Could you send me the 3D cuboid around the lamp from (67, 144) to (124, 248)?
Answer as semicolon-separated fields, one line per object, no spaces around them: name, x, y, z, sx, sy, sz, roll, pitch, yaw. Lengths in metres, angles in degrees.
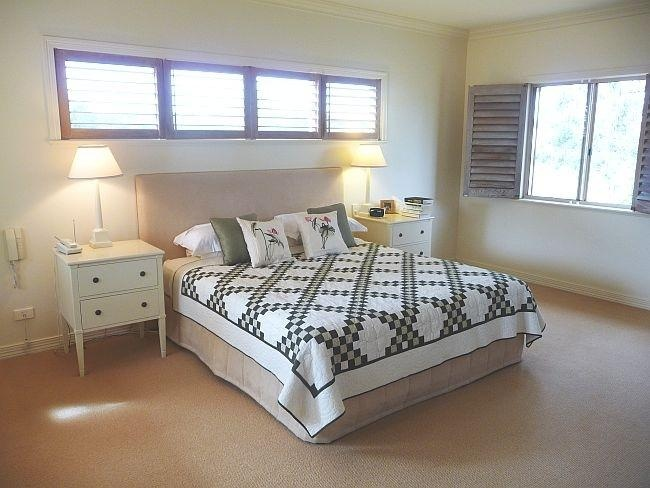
lamp;-1.907;-0.409;3.797;0.378;0.821;0.372;-8;16;-28

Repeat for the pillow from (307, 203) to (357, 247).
pillow;0.038;-0.145;4.619;0.137;0.436;0.465;-23;-11;34

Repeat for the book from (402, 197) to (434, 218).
book;1.124;-0.471;5.338;0.280;0.182;0.275;-14;18;-43

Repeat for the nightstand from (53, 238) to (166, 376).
nightstand;-1.638;0.624;3.776;0.709;0.878;0.633;-7;-20;-19

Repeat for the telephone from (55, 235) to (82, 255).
telephone;-2.061;0.018;3.658;0.223;0.096;0.158;17;18;41

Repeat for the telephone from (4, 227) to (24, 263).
telephone;-2.498;0.003;3.654;0.132;0.246;0.061;-5;5;-42

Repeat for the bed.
bed;0.055;0.119;4.173;2.479;1.592;2.899;-8;14;-35

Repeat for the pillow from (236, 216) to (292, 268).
pillow;-0.557;-0.006;4.018;0.407;0.359;0.184;-13;11;-42

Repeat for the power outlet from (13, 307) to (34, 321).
power outlet;-2.532;0.578;3.783;0.112;0.081;0.032;1;9;-40

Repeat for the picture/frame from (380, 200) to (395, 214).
picture/frame;0.761;-0.463;5.478;0.157;0.157;0.158;-6;14;-9

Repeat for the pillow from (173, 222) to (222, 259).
pillow;-1.127;-0.027;4.069;0.322;0.101;0.323;-20;62;-25
